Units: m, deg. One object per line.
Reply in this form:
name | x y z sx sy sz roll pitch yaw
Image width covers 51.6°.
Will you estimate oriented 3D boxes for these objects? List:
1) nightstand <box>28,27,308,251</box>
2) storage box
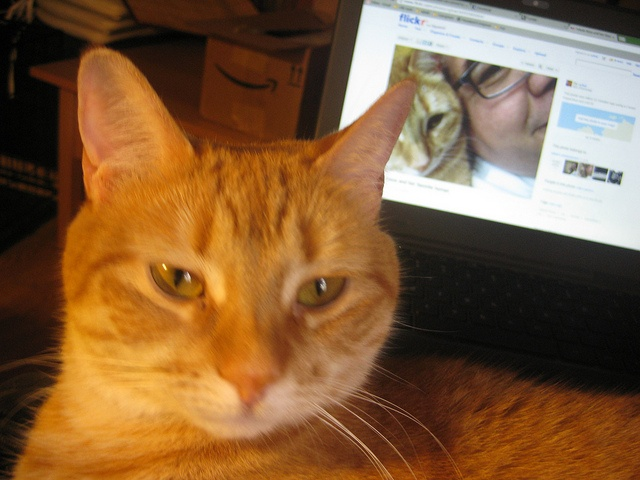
nightstand | -0.328 -0.228 1.642 0.505 0.538 0.475 15 19 -3
storage box | -0.122 -0.313 1.455 0.212 0.150 0.224 25 21 14
